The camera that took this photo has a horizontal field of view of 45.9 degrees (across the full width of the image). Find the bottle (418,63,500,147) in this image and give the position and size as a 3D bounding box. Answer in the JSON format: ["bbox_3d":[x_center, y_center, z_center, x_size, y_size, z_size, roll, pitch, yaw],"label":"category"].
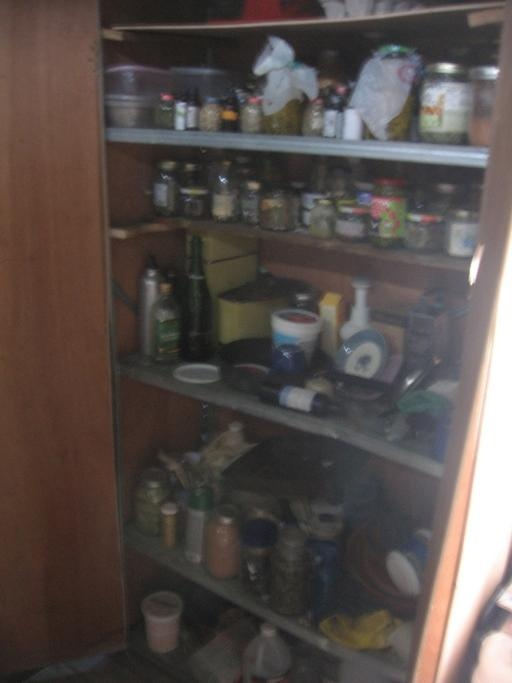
[{"bbox_3d":[0.330,-0.386,0.981,0.058,0.124,0.154,-6,21,-24],"label":"bottle"}]

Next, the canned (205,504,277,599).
[{"bbox_3d":[-0.074,0.484,1.474,0.222,0.181,0.122,16,16,29],"label":"canned"}]
